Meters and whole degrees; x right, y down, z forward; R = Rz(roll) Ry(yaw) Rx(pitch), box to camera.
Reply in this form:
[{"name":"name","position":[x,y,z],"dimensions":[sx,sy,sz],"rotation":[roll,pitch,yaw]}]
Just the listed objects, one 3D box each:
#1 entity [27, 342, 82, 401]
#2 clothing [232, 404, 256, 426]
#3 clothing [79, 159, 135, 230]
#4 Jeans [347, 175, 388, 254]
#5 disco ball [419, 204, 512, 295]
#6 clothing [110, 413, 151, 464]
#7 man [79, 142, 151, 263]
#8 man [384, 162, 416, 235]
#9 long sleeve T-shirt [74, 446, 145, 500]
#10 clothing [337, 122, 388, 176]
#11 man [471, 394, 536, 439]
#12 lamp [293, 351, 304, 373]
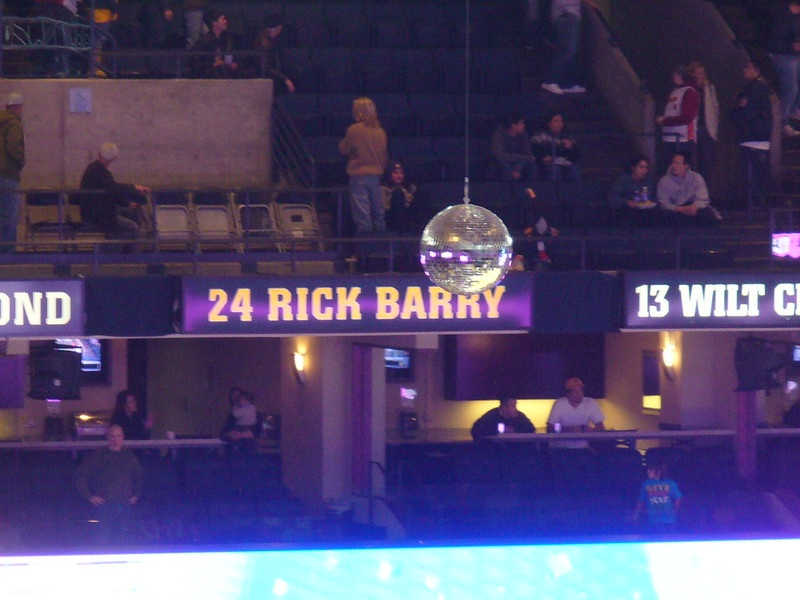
[{"name":"entity","position":[-4.940,1.066,22.426],"dimensions":[0.990,1.048,0.765],"rotation":[1,-1,-1]},{"name":"clothing","position":[-2.340,1.732,23.208],"dimensions":[0.294,0.296,0.310],"rotation":[0,-10,2]},{"name":"clothing","position":[-3.594,-1.328,18.924],"dimensions":[0.658,0.972,0.750],"rotation":[-4,-1,1]},{"name":"Jeans","position":[-0.395,-1.238,19.745],"dimensions":[0.475,1.176,0.340],"rotation":[-15,45,-15]},{"name":"disco ball","position":[0.801,-0.520,16.578],"dimensions":[0.892,0.972,0.890],"rotation":[3,-4,0]},{"name":"clothing","position":[-3.625,1.776,20.865],"dimensions":[0.511,0.224,0.844],"rotation":[1,10,-8]},{"name":"man","position":[-3.521,-1.113,18.966],"dimensions":[0.822,1.538,0.643],"rotation":[0,14,-4]},{"name":"man","position":[0.052,-1.368,20.308],"dimensions":[0.359,0.884,0.610],"rotation":[1,5,35]},{"name":"long sleeve T-shirt","position":[-3.567,2.178,19.087],"dimensions":[0.916,0.768,0.505],"rotation":[5,-8,-28]},{"name":"clothing","position":[-0.444,-1.938,19.742],"dimensions":[0.751,0.906,0.575],"rotation":[0,7,-3]},{"name":"man","position":[1.357,1.646,20.527],"dimensions":[0.749,0.997,0.549],"rotation":[3,-9,-12]},{"name":"lamp","position":[-1.429,0.894,22.066],"dimensions":[0.076,0.269,0.183],"rotation":[-3,5,-43]}]
